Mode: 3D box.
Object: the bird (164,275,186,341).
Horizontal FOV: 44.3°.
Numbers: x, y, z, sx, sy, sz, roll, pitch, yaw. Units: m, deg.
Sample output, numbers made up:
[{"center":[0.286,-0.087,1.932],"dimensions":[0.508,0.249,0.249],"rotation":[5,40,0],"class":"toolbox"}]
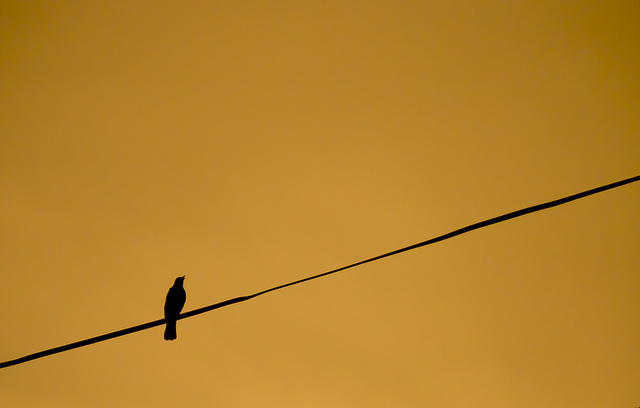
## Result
[{"center":[-0.371,0.264,2.010],"dimensions":[0.044,0.059,0.154],"rotation":[9,-98,-23],"class":"bird"}]
